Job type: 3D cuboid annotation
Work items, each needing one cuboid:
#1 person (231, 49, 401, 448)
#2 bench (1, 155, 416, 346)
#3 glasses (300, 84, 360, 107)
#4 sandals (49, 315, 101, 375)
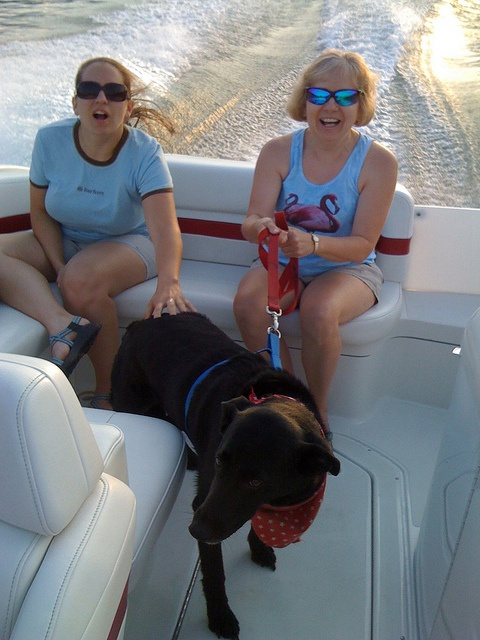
[{"bbox_3d":[0.220,-0.230,2.128,0.603,1.474,0.658,8,28,13],"label":"person"},{"bbox_3d":[0.009,0.192,2.461,1.493,0.647,1.019,6,35,6],"label":"bench"},{"bbox_3d":[0.338,-0.809,1.963,0.186,0.058,0.045,8,36,9],"label":"glasses"},{"bbox_3d":[-0.588,0.075,1.892,0.076,0.078,0.215,26,69,29],"label":"sandals"}]
